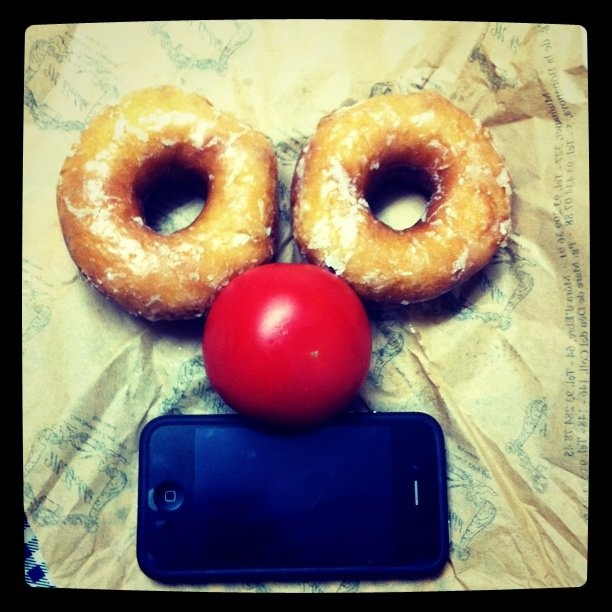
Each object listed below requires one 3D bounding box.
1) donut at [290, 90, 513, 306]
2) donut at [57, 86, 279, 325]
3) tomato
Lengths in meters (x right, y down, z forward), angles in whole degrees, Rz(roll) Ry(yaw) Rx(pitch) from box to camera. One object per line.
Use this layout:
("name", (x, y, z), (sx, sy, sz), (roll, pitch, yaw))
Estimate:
("donut", (0.129, -0.149, 0.984), (0.302, 0.093, 0.269), (-10, 73, -1))
("donut", (-0.183, -0.147, 0.974), (0.308, 0.095, 0.283), (-36, 75, -9))
("tomato", (-0.025, 0.046, 0.892), (0.204, 0.086, 0.194), (2, 72, 2))
